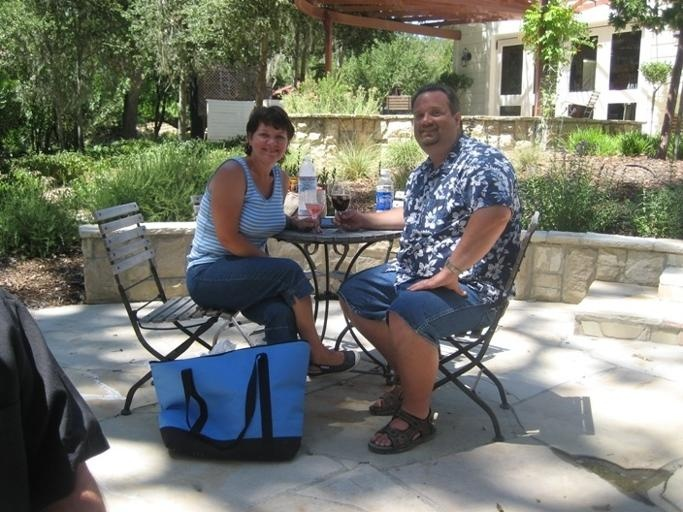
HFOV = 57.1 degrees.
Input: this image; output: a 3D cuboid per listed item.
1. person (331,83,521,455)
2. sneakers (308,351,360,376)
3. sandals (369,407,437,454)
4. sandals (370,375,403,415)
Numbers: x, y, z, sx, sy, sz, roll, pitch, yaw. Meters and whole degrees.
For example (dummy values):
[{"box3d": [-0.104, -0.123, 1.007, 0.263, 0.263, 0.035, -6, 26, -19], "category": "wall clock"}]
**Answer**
[{"box3d": [0.548, 0.004, 3.628, 0.949, 1.956, 0.867, -3, 14, -10], "category": "person"}, {"box3d": [-0.072, 0.713, 4.123, 0.396, 0.103, 0.155, -6, -2, 36], "category": "sneakers"}, {"box3d": [0.344, 0.965, 3.506, 0.370, 0.161, 0.170, -7, 10, -36], "category": "sandals"}, {"box3d": [0.311, 0.901, 3.898, 0.285, 0.106, 0.095, -3, 7, -38], "category": "sandals"}]
